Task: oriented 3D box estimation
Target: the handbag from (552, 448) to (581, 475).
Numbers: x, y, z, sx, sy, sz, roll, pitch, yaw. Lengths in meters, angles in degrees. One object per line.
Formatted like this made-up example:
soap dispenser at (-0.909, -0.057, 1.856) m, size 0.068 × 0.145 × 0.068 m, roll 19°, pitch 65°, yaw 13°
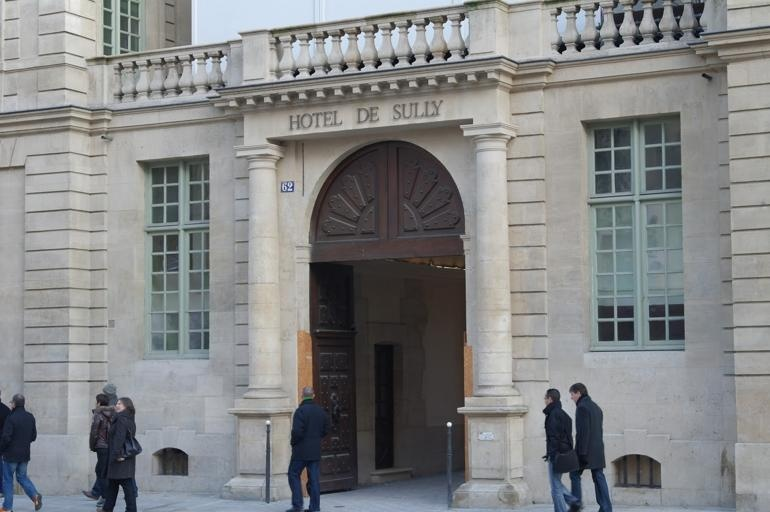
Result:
handbag at (3.243, 3.700, 34.010) m, size 0.546 × 0.373 × 0.212 m, roll -6°, pitch 3°, yaw 9°

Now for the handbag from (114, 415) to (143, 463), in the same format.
handbag at (-4.777, 3.483, 35.292) m, size 0.239 × 0.698 × 0.462 m, roll -9°, pitch -10°, yaw 39°
